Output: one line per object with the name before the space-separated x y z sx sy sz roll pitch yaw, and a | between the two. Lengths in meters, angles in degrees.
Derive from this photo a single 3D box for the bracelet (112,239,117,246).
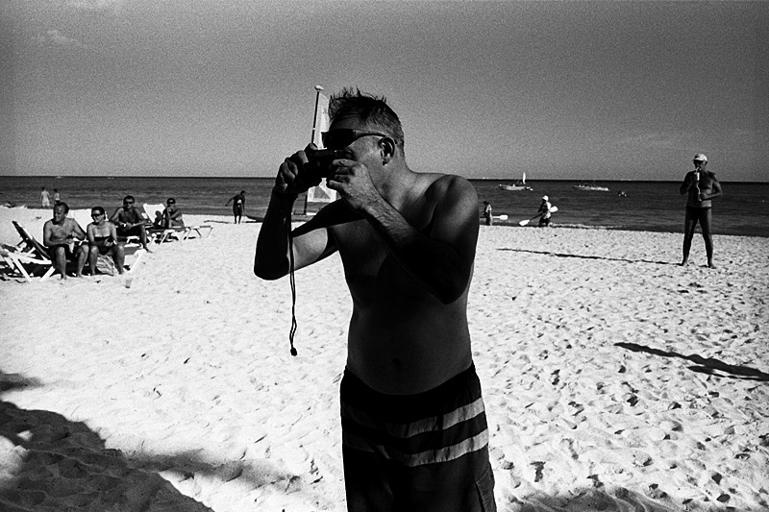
bracelet | -5.337 -0.261 10.810 0.094 0.096 0.144 -7 14 -26

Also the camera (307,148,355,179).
camera | -0.303 -0.480 2.767 0.173 0.180 0.066 2 8 23

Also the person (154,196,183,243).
person | -6.452 -1.082 16.581 0.703 1.122 2.257 -4 -2 -20

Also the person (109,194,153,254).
person | -6.189 -0.804 13.346 0.876 1.348 1.046 1 3 -3

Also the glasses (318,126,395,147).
glasses | -0.171 -0.594 2.734 0.170 0.053 0.170 4 0 -23

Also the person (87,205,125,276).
person | -5.550 -0.333 10.802 0.654 1.265 1.106 -7 14 -29

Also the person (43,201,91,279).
person | -6.065 -0.350 10.449 0.777 1.422 1.086 -11 16 -39
